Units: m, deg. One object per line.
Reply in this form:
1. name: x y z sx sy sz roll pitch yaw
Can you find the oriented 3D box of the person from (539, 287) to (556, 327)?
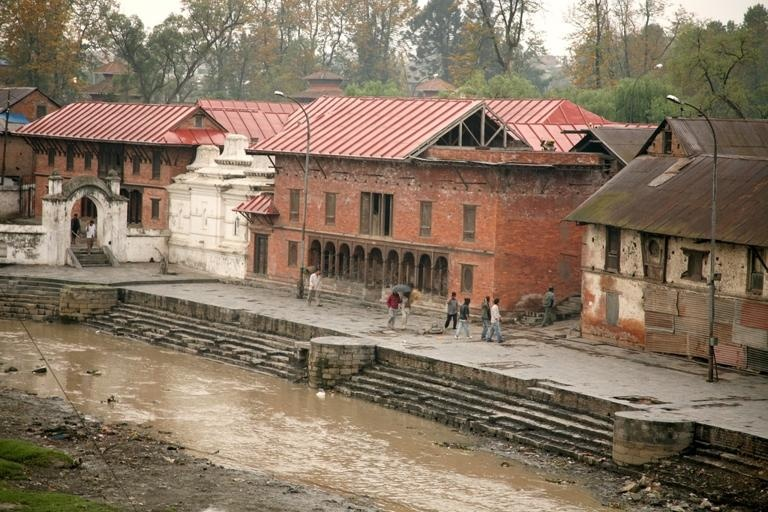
1. person: 8.660 2.684 79.628 0.633 1.426 1.351 2 1 6
